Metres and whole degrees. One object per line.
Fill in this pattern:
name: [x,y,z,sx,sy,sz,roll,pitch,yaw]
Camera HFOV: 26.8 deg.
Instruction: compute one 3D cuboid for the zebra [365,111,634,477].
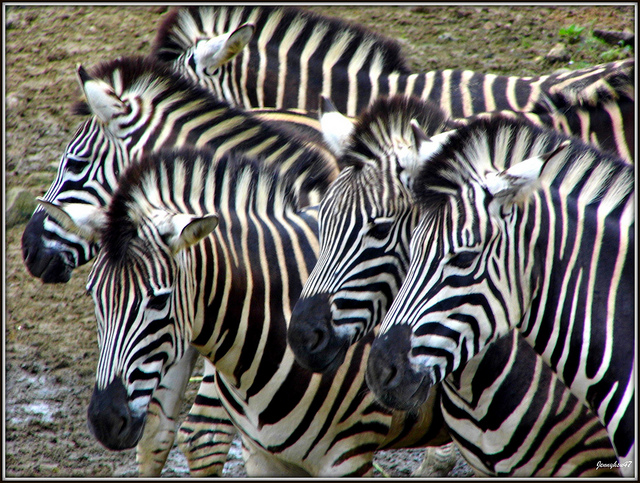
zebra: [0.968,0.222,6.417,1.283,1.214,1.096,12,41,8]
